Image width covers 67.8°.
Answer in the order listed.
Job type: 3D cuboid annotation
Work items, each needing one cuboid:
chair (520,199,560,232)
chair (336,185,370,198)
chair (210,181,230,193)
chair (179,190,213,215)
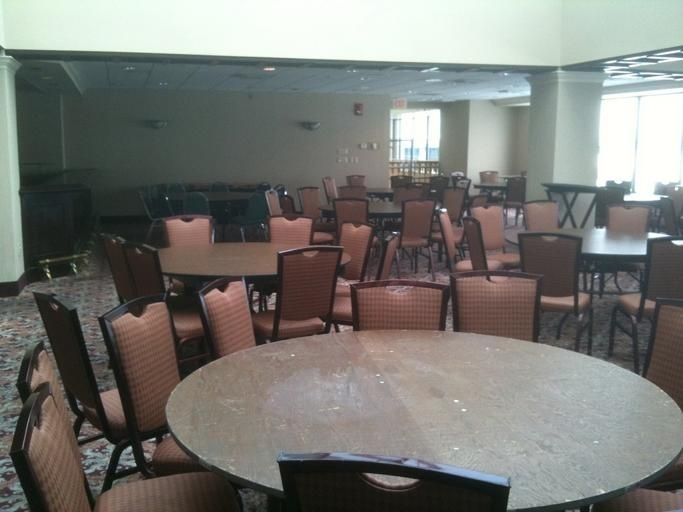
[{"bbox_3d":[2.427,-0.488,6.204,0.401,0.363,0.732,5,13,20],"label":"chair"},{"bbox_3d":[0.182,-1.174,9.375,0.516,0.186,0.221,3,13,12],"label":"chair"},{"bbox_3d":[-2.790,-1.576,11.740,0.399,0.194,1.452,-2,12,-12],"label":"chair"},{"bbox_3d":[-2.510,-0.901,8.789,0.463,0.709,0.500,-3,13,-23],"label":"chair"}]
